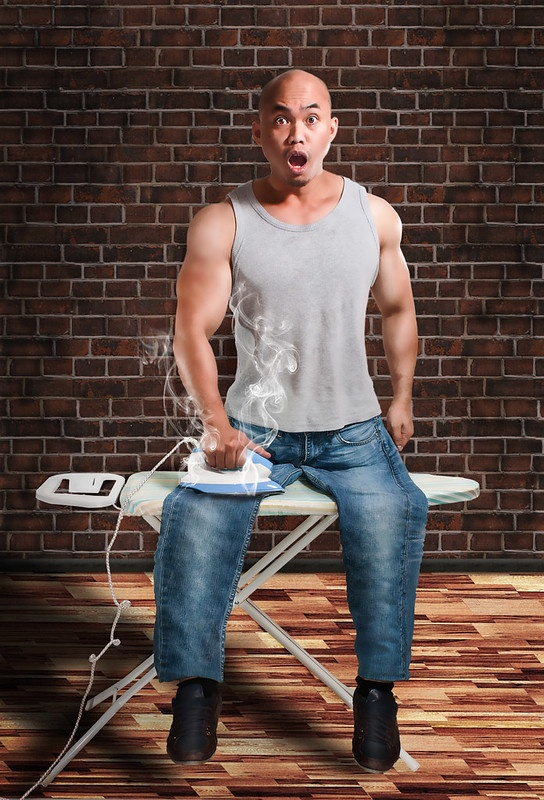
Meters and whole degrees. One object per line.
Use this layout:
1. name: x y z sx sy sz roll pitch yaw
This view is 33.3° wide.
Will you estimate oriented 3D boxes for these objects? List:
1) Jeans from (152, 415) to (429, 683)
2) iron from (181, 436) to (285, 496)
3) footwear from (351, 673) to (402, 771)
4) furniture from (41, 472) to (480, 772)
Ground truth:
1. Jeans: 0.158 0.380 1.824 0.679 0.379 0.614 -1 -23 11
2. iron: -0.065 0.121 1.662 0.225 0.104 0.074 -1 -22 1
3. footwear: 0.190 0.619 1.672 0.086 0.183 0.130 2 13 4
4. furniture: -0.067 0.396 1.871 1.018 0.572 0.488 0 4 -2
